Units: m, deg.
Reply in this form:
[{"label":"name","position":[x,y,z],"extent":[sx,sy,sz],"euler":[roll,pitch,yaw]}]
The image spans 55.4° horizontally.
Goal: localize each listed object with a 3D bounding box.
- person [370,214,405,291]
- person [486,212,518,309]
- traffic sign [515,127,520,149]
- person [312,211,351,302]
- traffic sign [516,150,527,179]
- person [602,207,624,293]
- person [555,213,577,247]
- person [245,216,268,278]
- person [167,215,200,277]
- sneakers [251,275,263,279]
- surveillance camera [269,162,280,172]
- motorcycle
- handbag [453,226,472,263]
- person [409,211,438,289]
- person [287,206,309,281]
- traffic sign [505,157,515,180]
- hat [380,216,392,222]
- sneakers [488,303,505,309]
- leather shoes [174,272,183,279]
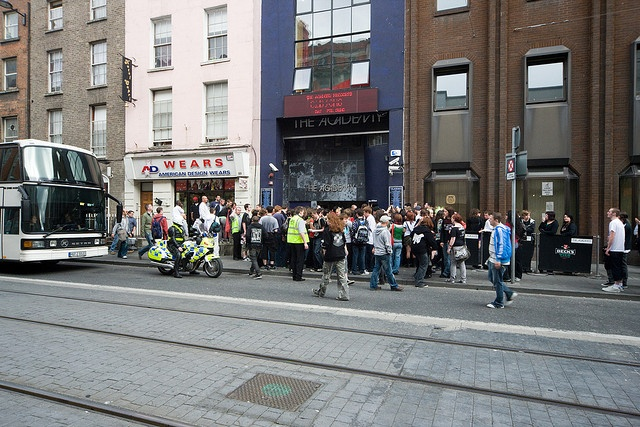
[{"label":"person","position":[2.142,1.296,20.138],"extent":[0.958,2.500,0.553],"euler":[0,-1,8]},{"label":"person","position":[5.522,1.423,18.488],"extent":[0.734,2.868,0.743],"euler":[-1,-2,34]},{"label":"traffic sign","position":[6.908,-2.618,21.180],"extent":[0.139,0.775,0.443],"euler":[-1,-2,24]},{"label":"person","position":[0.472,1.330,19.247],"extent":[0.915,2.734,1.232],"euler":[1,-2,-43]},{"label":"traffic sign","position":[6.998,-1.732,20.908],"extent":[0.197,0.820,0.478],"euler":[1,-2,-29]},{"label":"person","position":[9.839,1.213,20.178],"extent":[0.605,2.730,0.672],"euler":[-1,-2,25]},{"label":"person","position":[9.467,0.648,23.182],"extent":[0.618,1.698,0.678],"euler":[15,-19,-6]},{"label":"person","position":[-2.363,1.187,22.242],"extent":[0.750,2.309,1.046],"euler":[0,-2,-4]},{"label":"person","position":[-5.023,1.307,21.699],"extent":[0.833,1.903,0.627],"euler":[0,-2,-19]},{"label":"sneakers","position":[-2.286,2.270,21.888],"extent":[0.342,0.150,0.128],"euler":[2,-1,11]},{"label":"surveillance camera","position":[-2.219,-2.248,29.516],"extent":[0.440,0.423,0.372],"euler":[0,-2,-14]},{"label":"motorcycle","position":[-4.794,1.347,22.070],"extent":[3.064,1.780,1.381],"euler":[-1,-8,24]},{"label":"handbag","position":[4.870,1.087,20.989],"extent":[0.508,1.217,0.582],"euler":[0,-2,5]},{"label":"person","position":[3.579,1.304,20.877],"extent":[0.823,2.428,0.836],"euler":[0,-1,9]},{"label":"person","position":[-0.814,1.063,21.648],"extent":[0.677,2.617,1.228],"euler":[0,-2,-5]},{"label":"traffic sign","position":[6.743,-1.598,21.228],"extent":[0.340,0.814,0.210],"euler":[-1,-2,34]},{"label":"hat","position":[2.143,0.167,20.047],"extent":[0.278,0.250,0.240],"euler":[0,-2,-2]},{"label":"sneakers","position":[5.393,2.781,18.395],"extent":[0.522,0.224,0.190],"euler":[0,3,5]},{"label":"leather shoes","position":[-5.059,2.184,21.628],"extent":[0.176,0.212,0.531],"euler":[3,-7,-41]}]
